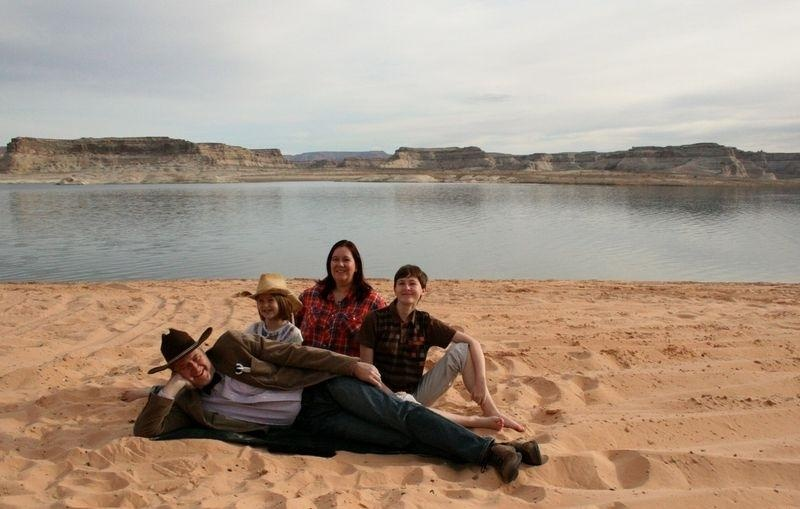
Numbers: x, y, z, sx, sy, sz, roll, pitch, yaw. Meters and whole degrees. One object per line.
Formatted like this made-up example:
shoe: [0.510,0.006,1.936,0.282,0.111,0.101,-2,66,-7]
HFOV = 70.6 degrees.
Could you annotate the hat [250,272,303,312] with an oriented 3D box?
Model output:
hat: [-1.520,0.488,7.026,0.310,0.538,0.545,5,12,30]
